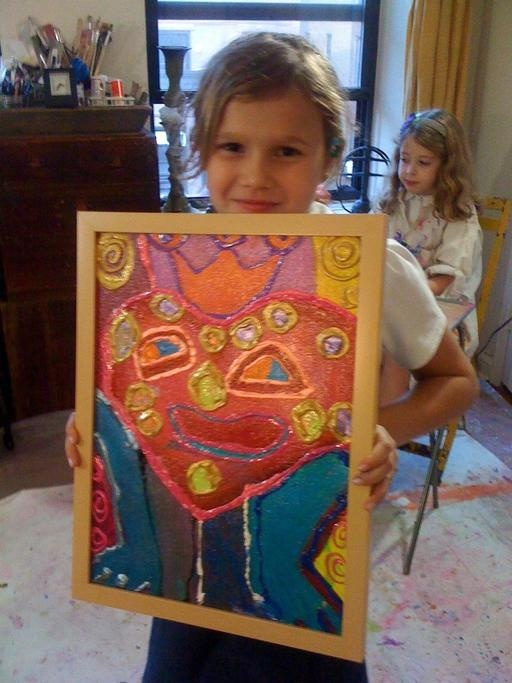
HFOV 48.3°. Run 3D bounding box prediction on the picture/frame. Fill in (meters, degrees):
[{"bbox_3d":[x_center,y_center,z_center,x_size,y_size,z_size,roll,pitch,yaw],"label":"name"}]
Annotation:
[{"bbox_3d":[-0.048,0.071,0.664,0.397,0.487,0.019,0,-8,24],"label":"picture/frame"}]
